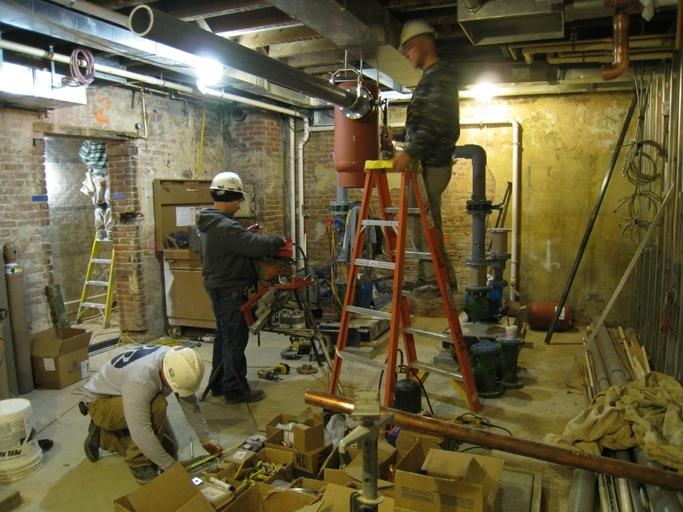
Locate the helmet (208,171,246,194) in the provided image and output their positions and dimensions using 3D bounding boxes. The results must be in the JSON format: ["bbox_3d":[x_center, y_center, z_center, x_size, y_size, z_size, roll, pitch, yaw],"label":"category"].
[{"bbox_3d":[-1.124,-0.727,5.639,0.348,0.160,0.242,3,3,-44],"label":"helmet"}]

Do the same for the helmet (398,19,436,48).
[{"bbox_3d":[0.651,-1.929,4.851,0.283,0.142,0.209,5,25,32],"label":"helmet"}]

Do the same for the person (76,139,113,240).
[{"bbox_3d":[-3.499,-0.941,8.106,0.619,1.468,0.241,8,18,39],"label":"person"}]

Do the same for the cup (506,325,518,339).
[{"bbox_3d":[1.757,0.792,5.794,0.149,0.110,0.141,0,0,0],"label":"cup"}]

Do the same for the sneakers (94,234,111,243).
[{"bbox_3d":[-3.567,-0.261,8.377,0.207,0.123,0.192,2,0,-12],"label":"sneakers"}]

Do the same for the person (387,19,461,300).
[{"bbox_3d":[0.745,-0.866,4.833,0.509,2.350,0.801,0,14,11],"label":"person"}]

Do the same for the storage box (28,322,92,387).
[{"bbox_3d":[-3.154,1.087,6.350,0.667,0.618,0.661,2,6,21],"label":"storage box"}]
